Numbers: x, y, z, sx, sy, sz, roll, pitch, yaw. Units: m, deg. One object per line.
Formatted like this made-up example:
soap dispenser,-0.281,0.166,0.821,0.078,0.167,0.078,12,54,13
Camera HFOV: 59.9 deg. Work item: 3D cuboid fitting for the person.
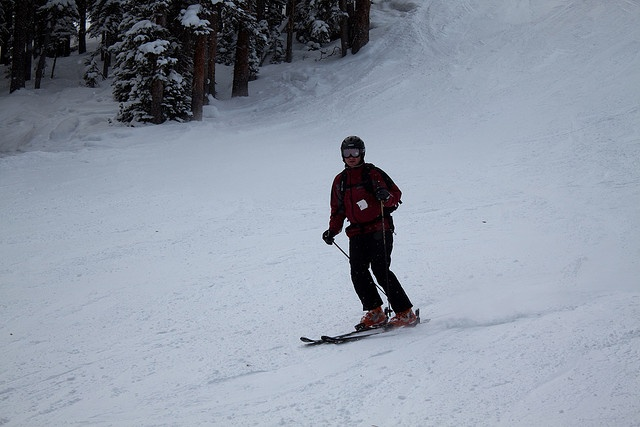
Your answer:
person,0.819,0.320,9.182,1.403,3.107,0.586,-2,10,8

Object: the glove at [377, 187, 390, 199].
glove,1.026,-0.309,8.919,0.212,0.189,0.121,-2,10,5

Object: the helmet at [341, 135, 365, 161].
helmet,0.584,-1.068,9.237,0.351,0.330,0.392,-3,-7,9

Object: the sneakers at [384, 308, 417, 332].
sneakers,1.285,1.761,9.235,0.747,0.266,0.232,-4,6,-12
